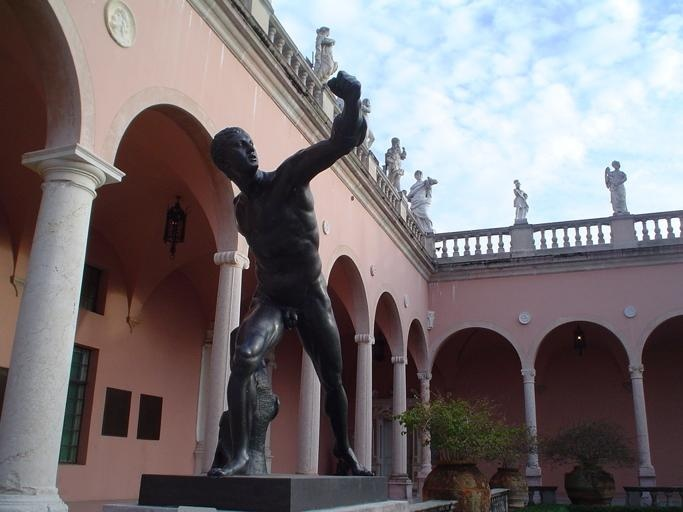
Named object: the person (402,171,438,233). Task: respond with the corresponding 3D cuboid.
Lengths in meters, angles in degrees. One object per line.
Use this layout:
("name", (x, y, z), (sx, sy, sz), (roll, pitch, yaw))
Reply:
("person", (2.545, -1.621, 19.504), (0.840, 2.201, 1.109), (-1, -22, 3))

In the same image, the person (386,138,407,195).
("person", (1.500, -2.552, 17.301), (0.550, 0.494, 1.618), (9, -56, 16))

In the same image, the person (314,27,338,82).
("person", (-0.294, -3.974, 12.041), (0.437, 1.223, 0.412), (2, -13, -16))

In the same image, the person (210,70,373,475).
("person", (-0.333, 0.244, 4.473), (1.067, 2.604, 1.616), (-1, -22, 2))

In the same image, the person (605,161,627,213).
("person", (8.031, -2.077, 17.919), (0.518, 1.828, 0.702), (-10, -24, 25))
